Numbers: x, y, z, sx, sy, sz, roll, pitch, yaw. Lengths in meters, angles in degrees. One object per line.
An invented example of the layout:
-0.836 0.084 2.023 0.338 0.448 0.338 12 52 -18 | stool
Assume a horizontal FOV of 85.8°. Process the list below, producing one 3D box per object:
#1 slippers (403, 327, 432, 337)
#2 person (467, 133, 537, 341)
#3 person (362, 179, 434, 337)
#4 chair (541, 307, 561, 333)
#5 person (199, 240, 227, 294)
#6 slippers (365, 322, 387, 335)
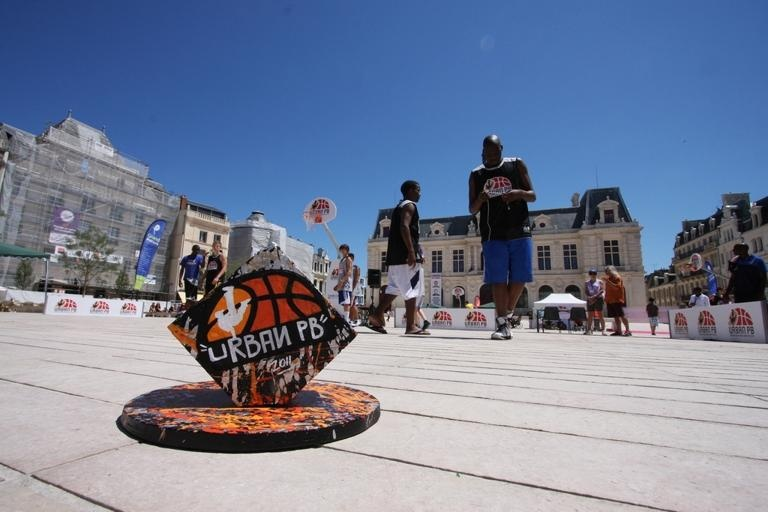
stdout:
0.488 1.164 6.287 0.306 0.108 0.171 -3 -11 5 | slippers
1.520 -0.257 5.553 0.833 2.737 0.531 2 -3 17 | person
0.233 0.043 6.023 0.798 2.256 0.910 2 -3 4 | person
6.093 2.369 15.335 0.835 0.807 1.223 4 -29 18 | chair
-3.552 0.221 8.751 0.332 1.049 1.262 4 -3 -26 | person
-0.196 1.071 6.191 0.433 0.195 0.152 1 -2 35 | slippers
